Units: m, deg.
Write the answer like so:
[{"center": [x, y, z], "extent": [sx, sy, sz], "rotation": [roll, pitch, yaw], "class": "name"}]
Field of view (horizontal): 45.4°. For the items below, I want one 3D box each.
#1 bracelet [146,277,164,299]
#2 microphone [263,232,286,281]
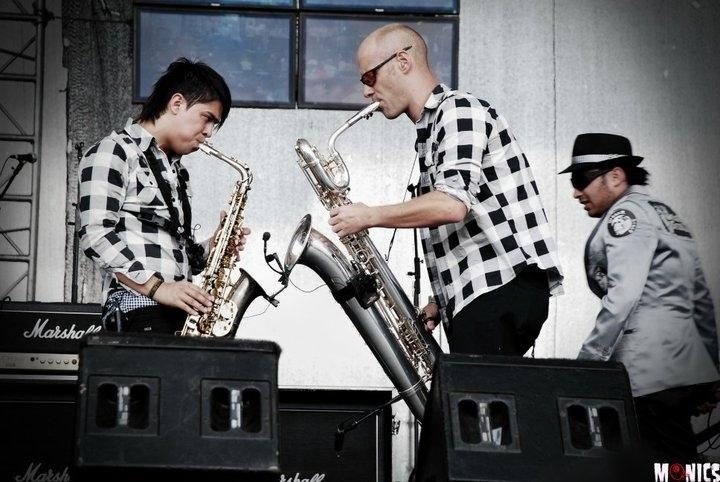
[{"center": [-1.110, 0.261, 4.725], "extent": [0.027, 0.099, 0.100], "rotation": [34, -14, -2], "class": "bracelet"}, {"center": [-0.637, 0.111, 6.363], "extent": [0.129, 0.099, 0.405], "rotation": [-8, -44, 17], "class": "microphone"}]
